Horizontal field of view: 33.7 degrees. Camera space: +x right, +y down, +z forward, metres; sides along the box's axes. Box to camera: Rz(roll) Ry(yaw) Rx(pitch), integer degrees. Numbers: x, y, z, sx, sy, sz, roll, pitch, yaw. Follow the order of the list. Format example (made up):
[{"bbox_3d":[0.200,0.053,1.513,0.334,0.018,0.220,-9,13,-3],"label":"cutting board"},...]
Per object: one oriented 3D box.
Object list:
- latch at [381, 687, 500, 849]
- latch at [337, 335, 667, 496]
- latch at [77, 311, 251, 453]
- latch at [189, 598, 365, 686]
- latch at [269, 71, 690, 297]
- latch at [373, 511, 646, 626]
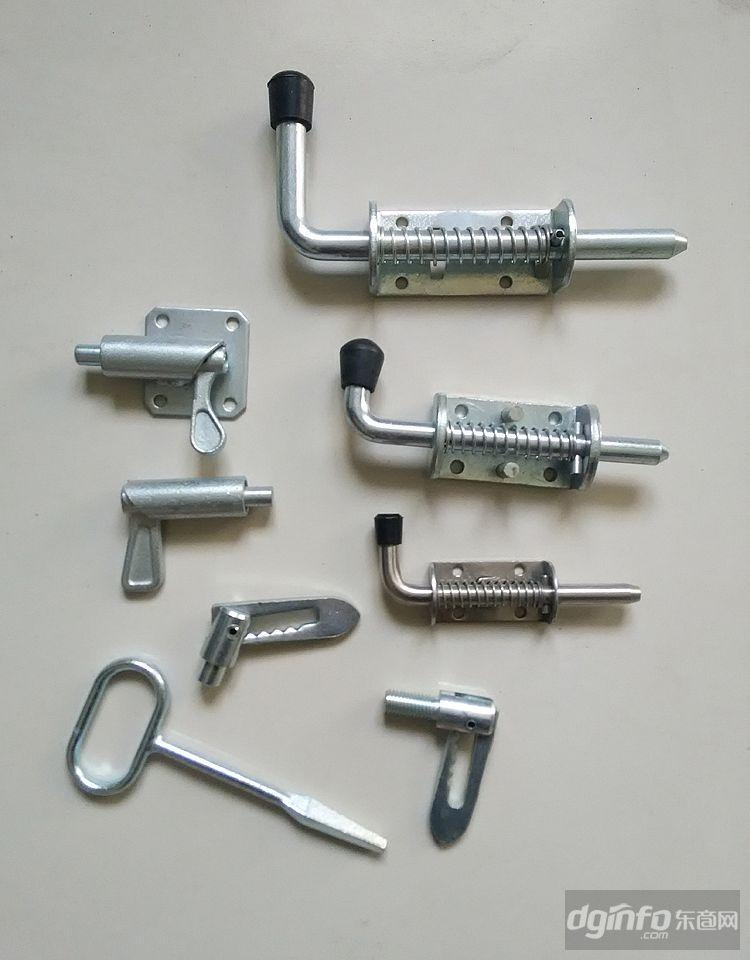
[{"bbox_3d":[0.077,0.373,1.574,0.177,0.232,0.044,8,4,3],"label":"latch"},{"bbox_3d":[0.176,-0.064,1.606,0.432,0.112,0.162,8,81,-12],"label":"latch"},{"bbox_3d":[-0.276,-0.127,1.589,0.219,0.121,0.179,-1,42,2],"label":"latch"},{"bbox_3d":[-0.128,0.189,1.577,0.199,0.077,0.100,-21,61,-22],"label":"latch"},{"bbox_3d":[0.136,-0.375,1.597,0.559,0.279,0.145,0,9,-3],"label":"latch"},{"bbox_3d":[0.213,0.127,1.647,0.488,0.128,0.201,-1,84,-1],"label":"latch"}]
